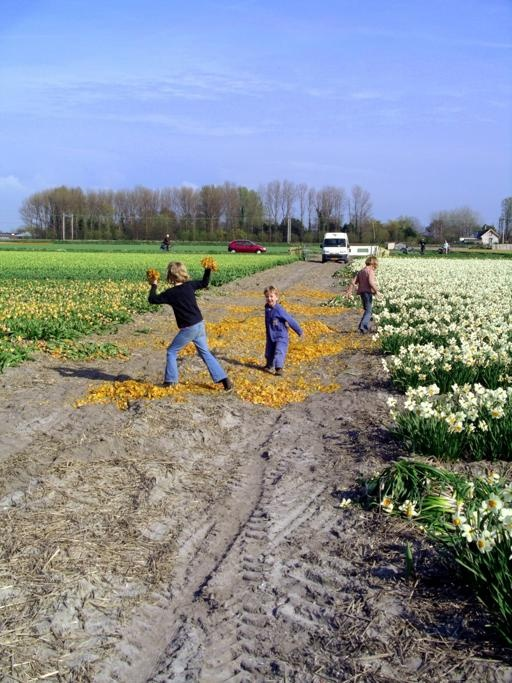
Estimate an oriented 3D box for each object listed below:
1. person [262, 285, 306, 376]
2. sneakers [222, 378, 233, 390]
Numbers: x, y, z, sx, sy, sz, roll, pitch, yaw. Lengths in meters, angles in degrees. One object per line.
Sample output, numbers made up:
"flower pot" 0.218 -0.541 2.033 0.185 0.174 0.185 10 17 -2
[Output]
"person" 0.413 -0.212 9.066 0.654 1.483 1.089 -7 9 1
"sneakers" -0.391 0.637 7.605 0.143 0.160 0.166 6 37 7
